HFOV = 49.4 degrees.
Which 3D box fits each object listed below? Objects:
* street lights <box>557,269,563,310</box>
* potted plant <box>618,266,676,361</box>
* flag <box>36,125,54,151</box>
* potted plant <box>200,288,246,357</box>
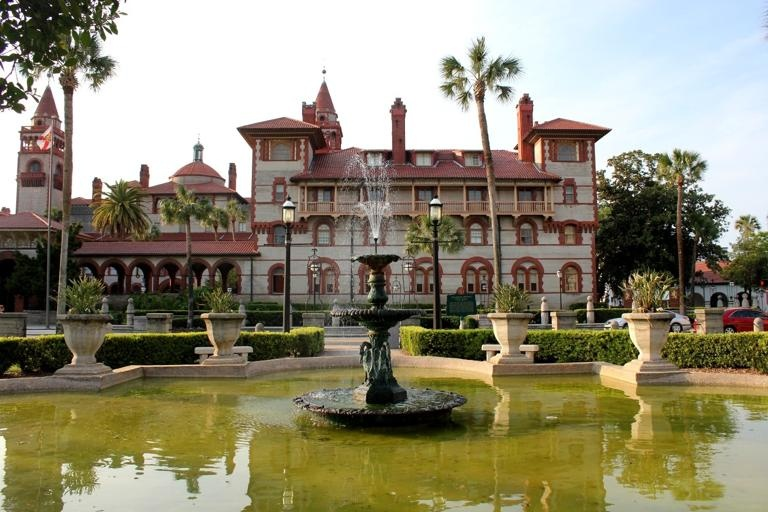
[{"bbox_3d":[12.089,2.181,57.261,0.435,2.640,0.282,-1,-7,0],"label":"street lights"},{"bbox_3d":[8.650,1.978,27.284,1.445,3.208,2.346,-3,-7,18],"label":"potted plant"},{"bbox_3d":[-18.742,-6.529,46.093,0.594,1.480,1.984,3,-7,-26],"label":"flag"},{"bbox_3d":[-5.533,2.341,28.591,1.299,2.496,2.173,0,-6,-10],"label":"potted plant"}]
